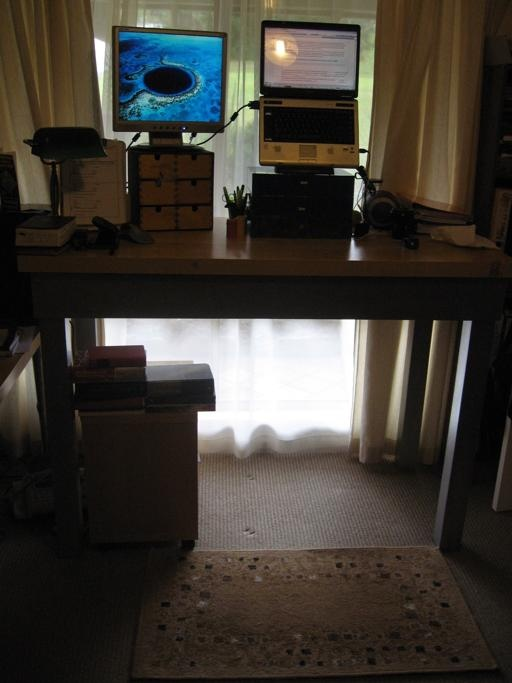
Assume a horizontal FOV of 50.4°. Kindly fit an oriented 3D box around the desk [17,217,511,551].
[{"bbox_3d":[0.018,0.466,2.039,1.573,1.294,0.852,0,29,-4],"label":"desk"}]

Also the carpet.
[{"bbox_3d":[0.145,0.716,1.481,0.900,0.016,0.473,1,13,-5],"label":"carpet"}]

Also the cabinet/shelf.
[{"bbox_3d":[-0.336,0.317,1.715,0.325,0.507,0.330,2,33,-4],"label":"cabinet/shelf"}]

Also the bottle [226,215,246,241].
[{"bbox_3d":[-0.058,-0.348,1.680,0.059,0.079,0.069,-4,10,-35],"label":"bottle"}]

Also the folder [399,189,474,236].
[{"bbox_3d":[0.588,-0.402,1.777,0.197,0.083,0.165,-2,31,-29],"label":"folder"}]

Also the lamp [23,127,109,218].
[{"bbox_3d":[-0.532,-0.472,1.539,0.208,0.230,0.307,-2,12,-17],"label":"lamp"}]
